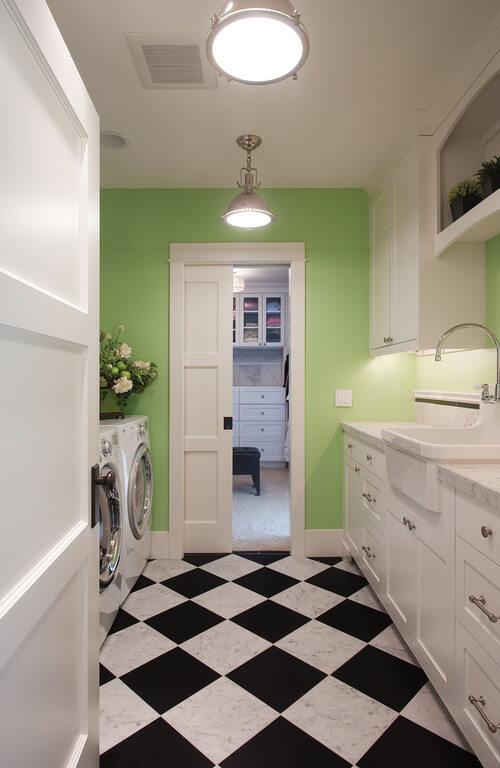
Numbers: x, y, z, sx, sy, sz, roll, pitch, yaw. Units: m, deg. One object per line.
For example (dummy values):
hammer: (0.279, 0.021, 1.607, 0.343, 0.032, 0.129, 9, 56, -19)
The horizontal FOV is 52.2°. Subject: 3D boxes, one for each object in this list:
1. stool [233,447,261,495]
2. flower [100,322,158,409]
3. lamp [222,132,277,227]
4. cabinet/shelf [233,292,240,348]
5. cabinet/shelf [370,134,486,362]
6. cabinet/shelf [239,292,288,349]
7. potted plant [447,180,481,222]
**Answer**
stool: (-0.040, 0.767, 4.672, 0.229, 0.414, 0.630, 0, 1, -2)
flower: (-0.705, -0.091, 2.857, 0.369, 0.513, 0.429, -1, 0, -10)
lamp: (-0.002, -0.954, 2.391, 0.212, 0.357, 0.200, -2, -3, 25)
cabinet/shelf: (-0.170, -0.800, 6.249, 0.099, 0.609, 0.084, 0, 0, 31)
cabinet/shelf: (0.912, -0.635, 2.717, 0.362, 1.089, 1.069, -2, 4, -2)
cabinet/shelf: (0.181, -0.820, 6.358, 0.601, 0.654, 0.250, 2, 7, 18)
potted plant: (0.813, -0.699, 1.968, 0.115, 0.147, 0.137, -2, 6, -6)
